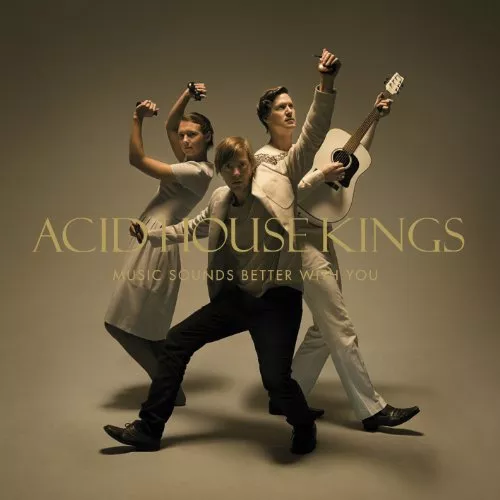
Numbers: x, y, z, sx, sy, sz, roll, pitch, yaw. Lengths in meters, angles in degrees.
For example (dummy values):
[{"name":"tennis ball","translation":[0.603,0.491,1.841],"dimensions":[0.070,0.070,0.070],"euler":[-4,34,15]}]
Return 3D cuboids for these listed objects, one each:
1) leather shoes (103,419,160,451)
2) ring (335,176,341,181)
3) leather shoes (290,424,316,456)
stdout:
[{"name":"leather shoes","translation":[-0.526,0.826,2.837],"dimensions":[0.115,0.136,0.331],"euler":[-19,-31,37]},{"name":"ring","translation":[0.439,-0.362,3.149],"dimensions":[0.020,0.019,0.005],"euler":[10,0,6]},{"name":"leather shoes","translation":[0.237,0.875,2.938],"dimensions":[0.107,0.153,0.160],"euler":[1,4,5]}]
